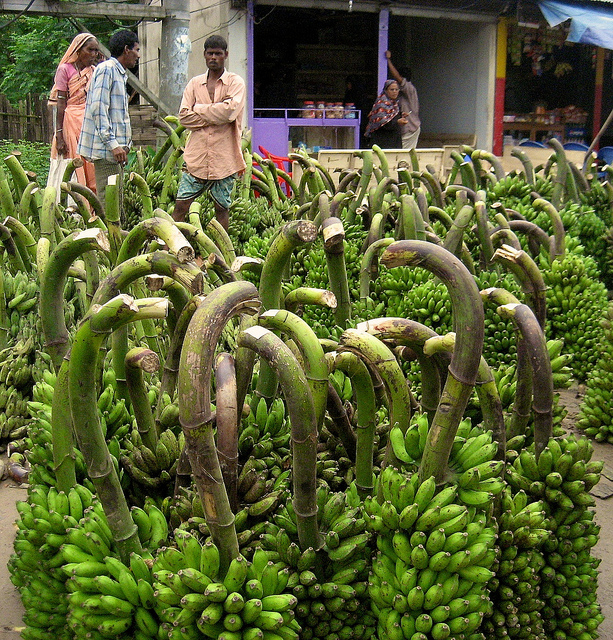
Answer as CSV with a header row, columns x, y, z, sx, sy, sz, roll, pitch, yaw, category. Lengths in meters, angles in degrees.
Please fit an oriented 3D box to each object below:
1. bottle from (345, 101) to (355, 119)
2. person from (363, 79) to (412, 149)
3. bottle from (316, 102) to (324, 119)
x,y,z,sx,sy,sz,roll,pitch,yaw,category
0.727,-3.523,10.424,0.182,0.330,0.482,2,6,5,bottle
1.306,-3.359,10.133,0.682,1.277,1.367,3,6,7,person
0.231,-3.469,10.196,0.137,0.304,0.280,2,6,1,bottle
